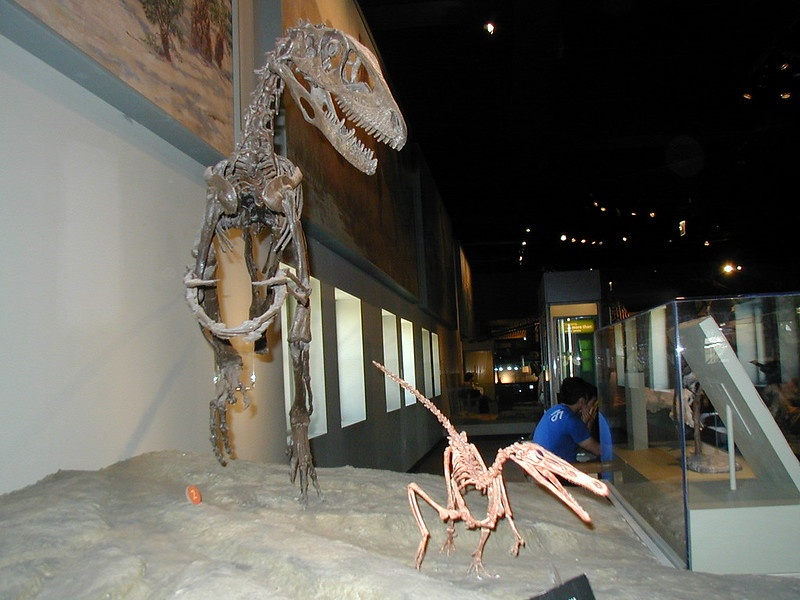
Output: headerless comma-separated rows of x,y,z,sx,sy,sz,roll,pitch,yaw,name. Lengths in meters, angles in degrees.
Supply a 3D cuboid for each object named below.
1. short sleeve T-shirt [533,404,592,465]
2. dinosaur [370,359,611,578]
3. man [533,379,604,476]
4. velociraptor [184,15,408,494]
1.529,1.242,5.497,0.342,0.614,0.651,-8,15,-18,short sleeve T-shirt
0.283,1.071,3.461,1.639,0.755,0.623,29,6,20,dinosaur
1.646,1.306,5.579,0.552,1.104,0.551,1,5,-8,man
-0.843,-0.284,4.037,1.220,3.208,1.465,4,10,-22,velociraptor
